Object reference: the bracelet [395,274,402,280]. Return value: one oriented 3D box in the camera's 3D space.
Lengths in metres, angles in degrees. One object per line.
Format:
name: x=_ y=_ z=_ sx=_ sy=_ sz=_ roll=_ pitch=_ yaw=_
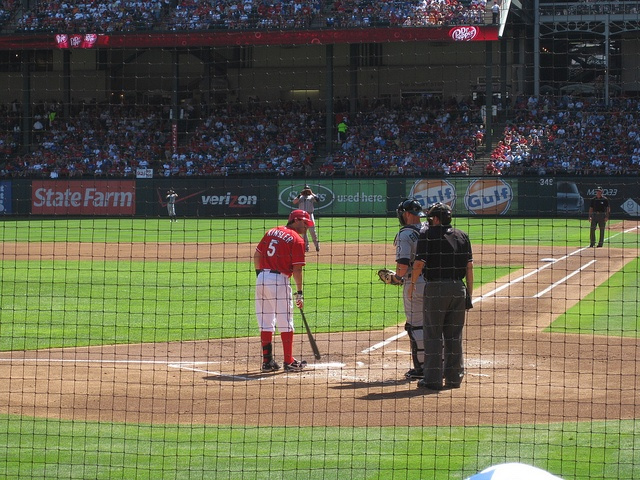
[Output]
bracelet: x=2.661 y=1.251 z=50.640 sx=0.258 sy=0.108 sz=0.087 roll=40 pitch=6 yaw=12
